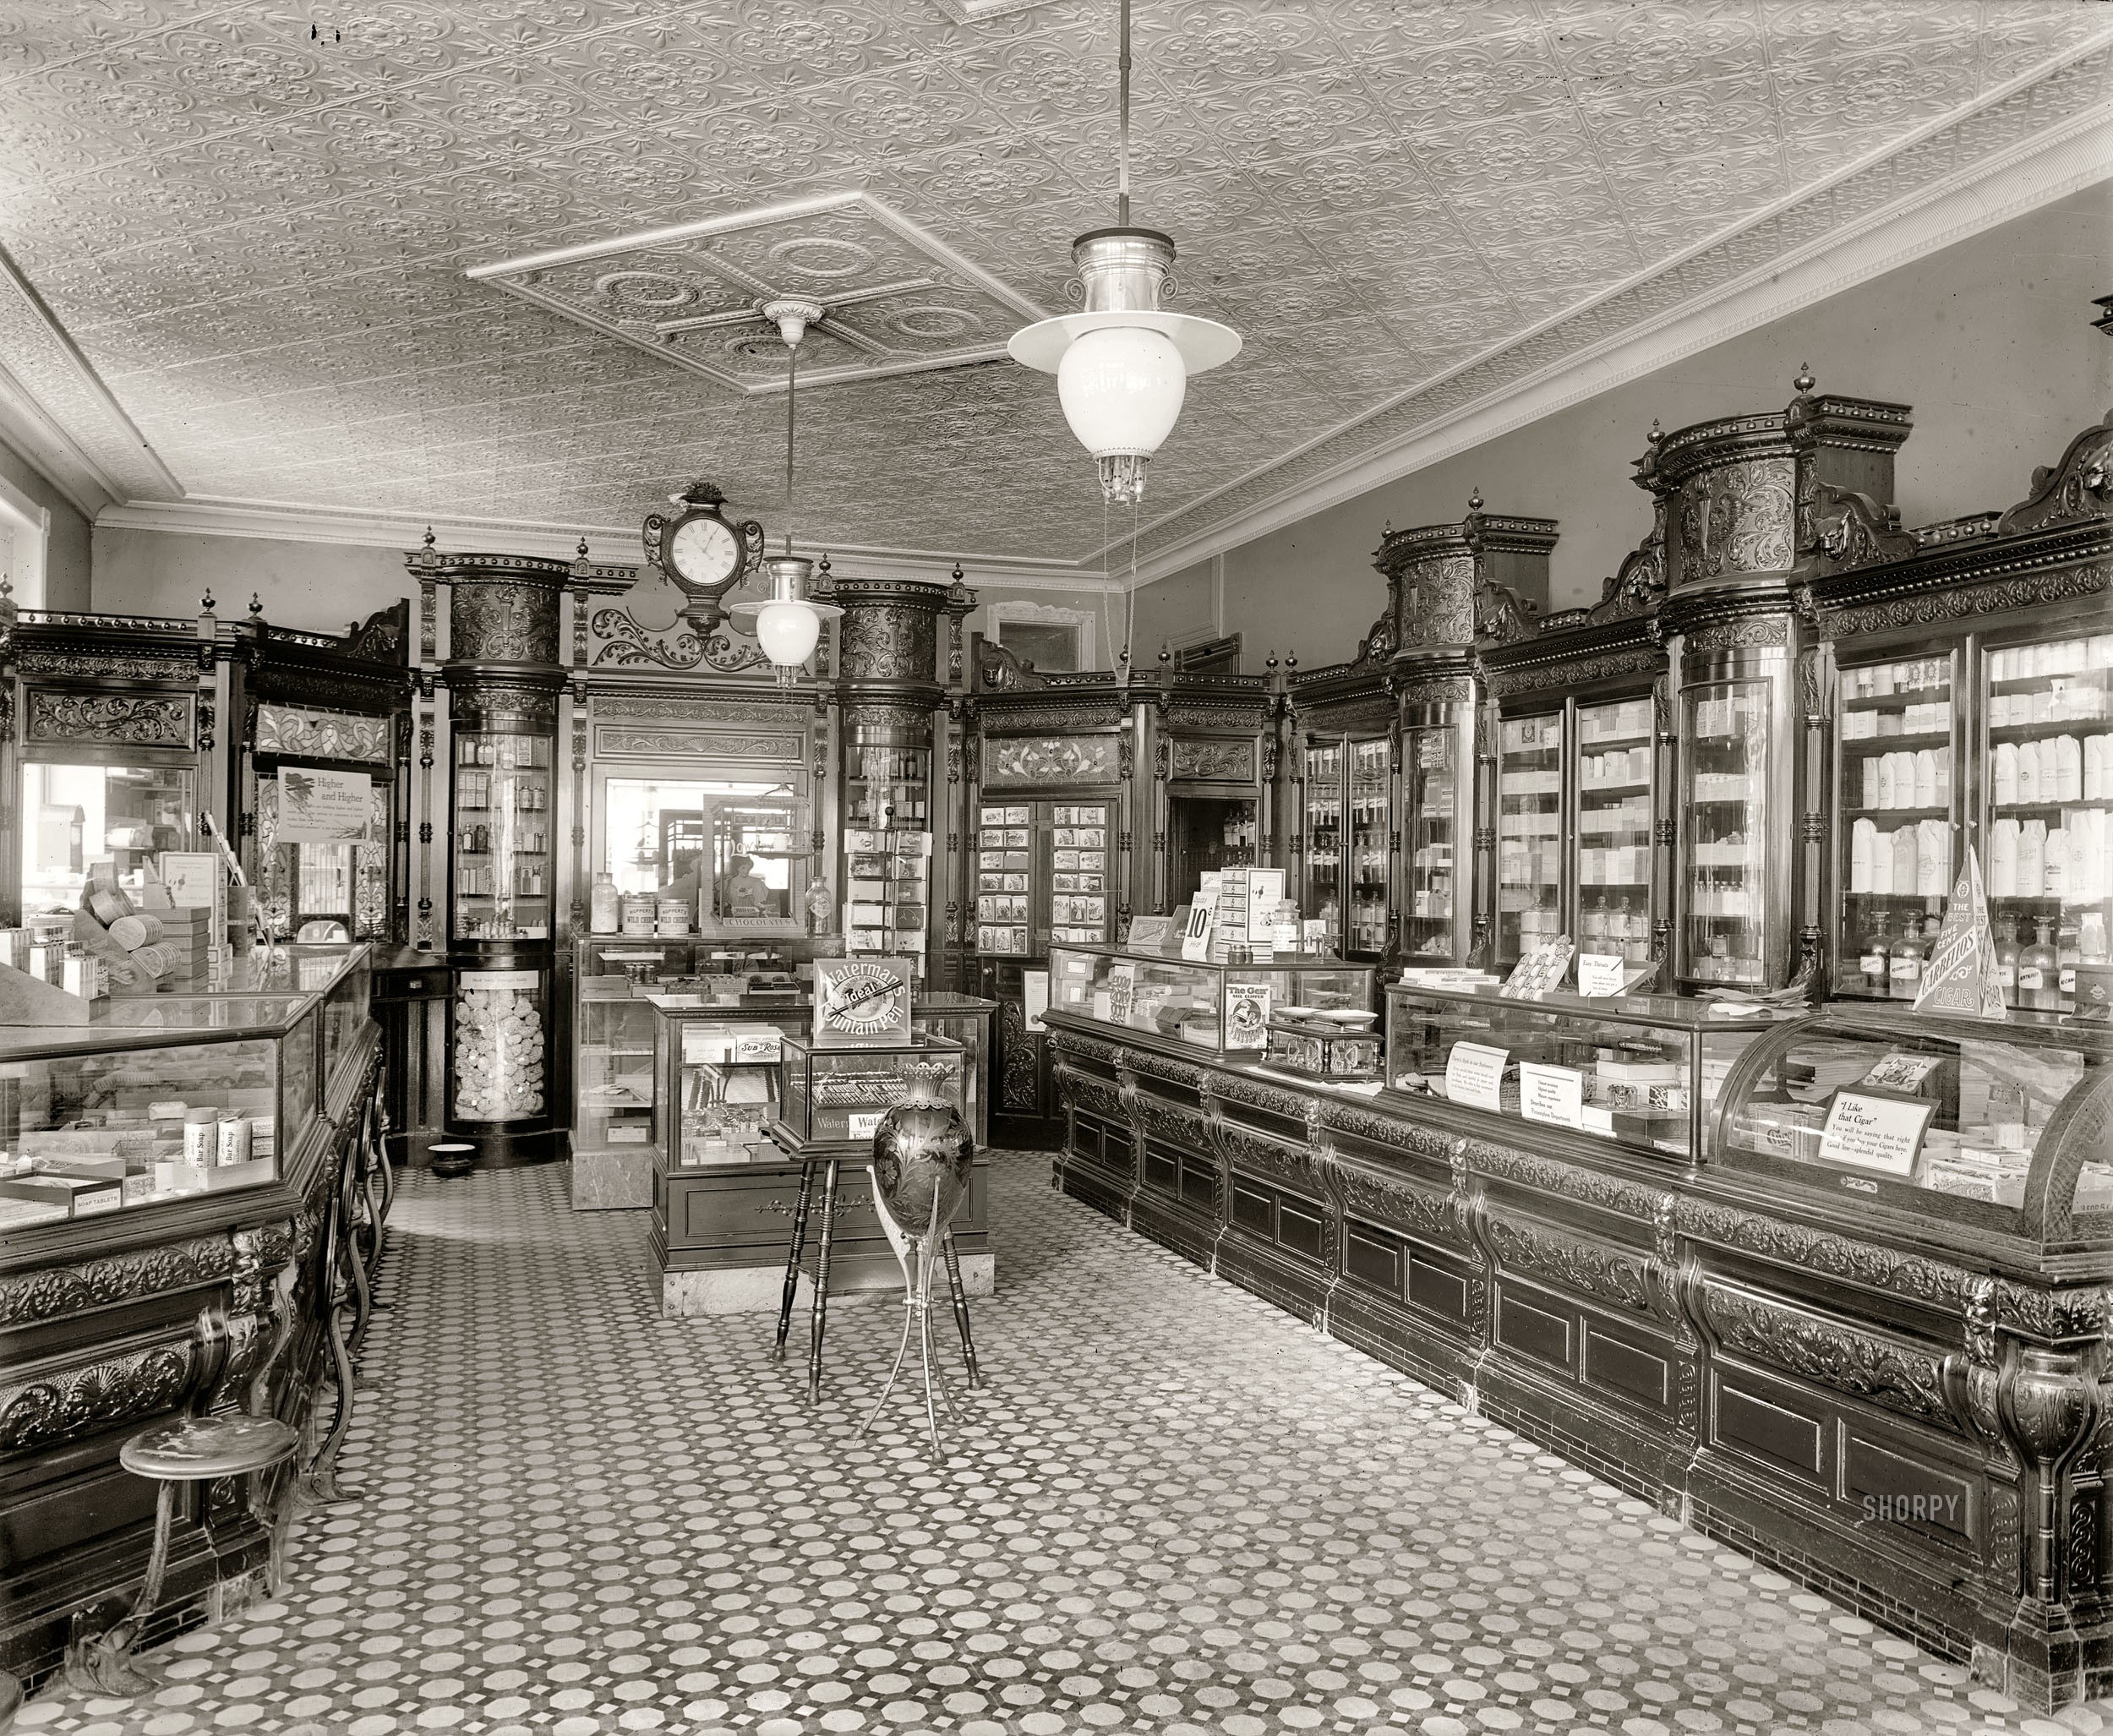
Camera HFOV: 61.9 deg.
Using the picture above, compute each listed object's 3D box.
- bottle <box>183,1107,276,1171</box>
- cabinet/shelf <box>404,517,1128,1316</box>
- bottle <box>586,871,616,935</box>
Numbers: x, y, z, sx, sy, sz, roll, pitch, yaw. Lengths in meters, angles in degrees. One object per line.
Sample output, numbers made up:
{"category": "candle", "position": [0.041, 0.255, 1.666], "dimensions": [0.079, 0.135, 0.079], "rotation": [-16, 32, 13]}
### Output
{"category": "bottle", "position": [-2.367, 0.774, 5.033], "dimensions": [0.037, 0.197, 0.267], "rotation": [3, 6, 32]}
{"category": "cabinet/shelf", "position": [-1.787, 0.338, 10.256], "dimensions": [4.038, 5.391, 2.834], "rotation": [-1, 0, -22]}
{"category": "bottle", "position": [-2.830, 0.236, 11.047], "dimensions": [0.182, 0.351, 0.658], "rotation": [-1, 6, -15]}
